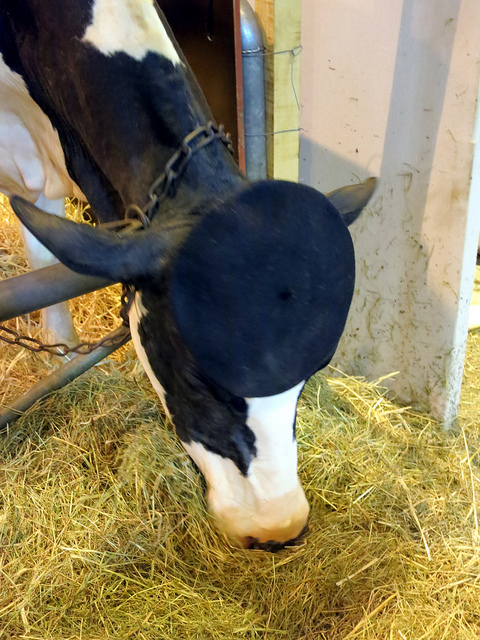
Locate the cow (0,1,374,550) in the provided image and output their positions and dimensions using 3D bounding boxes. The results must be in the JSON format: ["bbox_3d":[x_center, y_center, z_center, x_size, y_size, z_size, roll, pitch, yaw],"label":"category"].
[{"bbox_3d":[-0.144,-0.078,1.264,0.412,0.863,0.832,-19,41,-14],"label":"cow"}]
